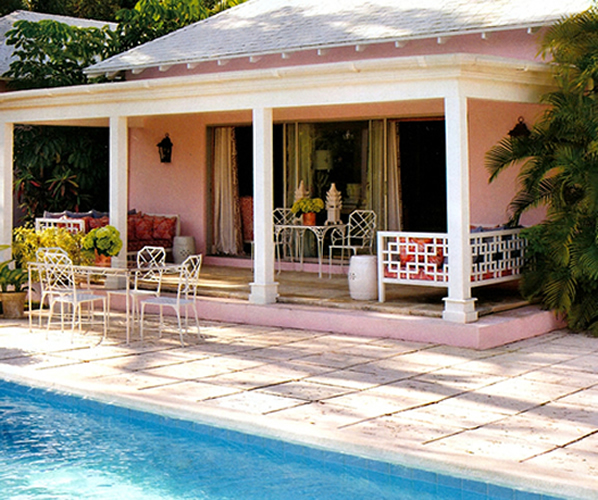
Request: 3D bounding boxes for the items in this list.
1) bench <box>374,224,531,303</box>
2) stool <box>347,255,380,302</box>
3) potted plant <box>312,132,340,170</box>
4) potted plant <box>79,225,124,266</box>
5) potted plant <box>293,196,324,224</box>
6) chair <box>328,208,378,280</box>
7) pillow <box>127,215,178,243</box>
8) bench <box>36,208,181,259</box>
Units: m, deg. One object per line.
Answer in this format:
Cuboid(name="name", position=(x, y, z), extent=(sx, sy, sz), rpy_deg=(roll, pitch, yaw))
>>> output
Cuboid(name="bench", position=(2.133, 0.113, 7.552), extent=(1.408, 0.741, 1.287), rpy_deg=(-1, 2, -43))
Cuboid(name="stool", position=(0.922, 0.385, 8.065), extent=(0.490, 0.614, 0.508), rpy_deg=(-2, 1, 32))
Cuboid(name="potted plant", position=(0.514, -1.990, 11.122), extent=(0.693, 0.700, 0.662), rpy_deg=(1, 5, 2))
Cuboid(name="potted plant", position=(-2.882, -0.089, 8.303), extent=(0.666, 0.679, 0.783), rpy_deg=(1, 0, 37))
Cuboid(name="potted plant", position=(0.177, -0.799, 11.057), extent=(0.631, 0.598, 0.578), rpy_deg=(0, 0, 4))
Cuboid(name="chair", position=(1.000, -0.147, 10.484), extent=(0.941, 1.139, 0.883), rpy_deg=(-2, 6, -6))
Cuboid(name="pillow", position=(-3.173, -0.489, 11.976), extent=(0.717, 0.197, 0.681), rpy_deg=(0, 19, 6))
Cuboid(name="bench", position=(-4.066, -0.218, 12.152), extent=(3.019, 1.145, 1.023), rpy_deg=(-2, 2, -18))
